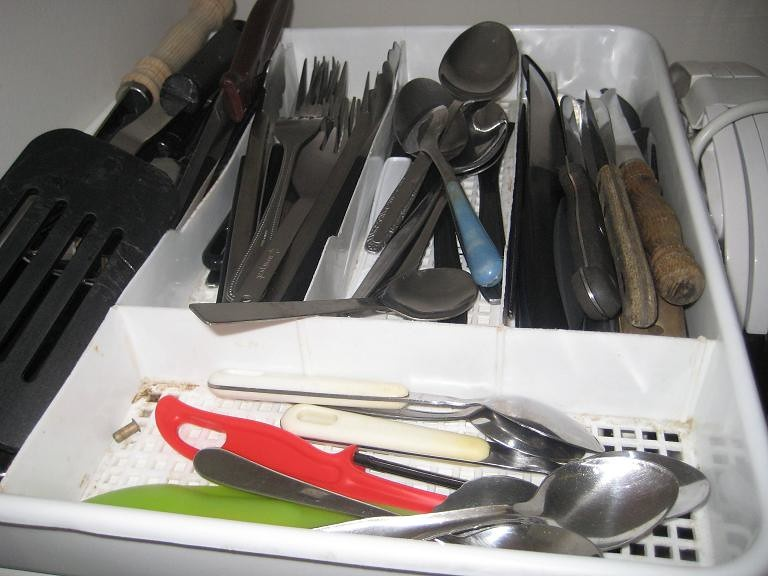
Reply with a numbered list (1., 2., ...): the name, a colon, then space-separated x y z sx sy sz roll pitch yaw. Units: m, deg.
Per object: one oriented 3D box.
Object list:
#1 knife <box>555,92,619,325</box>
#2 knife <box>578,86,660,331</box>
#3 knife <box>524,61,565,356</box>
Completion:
1. knife: 0.238 -0.098 0.750 0.050 0.047 0.280 20 61 -21
2. knife: 0.270 -0.106 0.728 0.034 0.053 0.277 -9 52 22
3. knife: 0.193 -0.113 0.802 0.049 0.033 0.404 2 61 4
